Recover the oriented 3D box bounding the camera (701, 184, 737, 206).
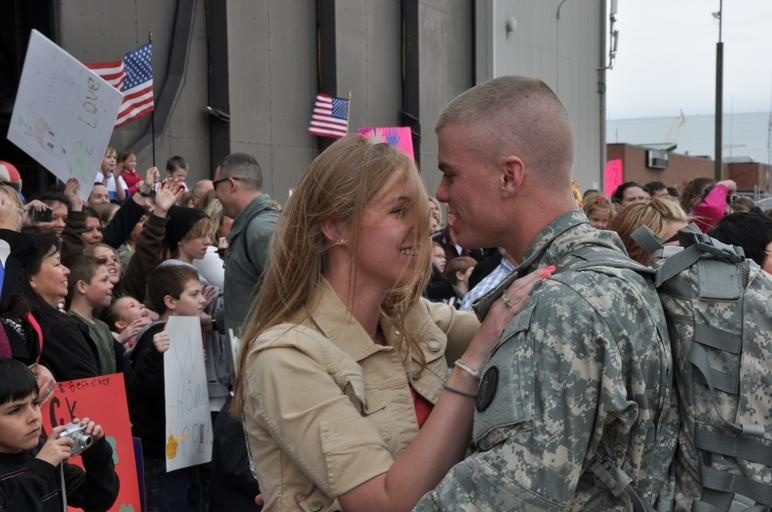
[{"bbox_3d":[3.891,-0.727,11.161,0.270,0.421,0.208,-4,2,-25],"label":"camera"}]

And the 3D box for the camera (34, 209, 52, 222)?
[{"bbox_3d":[-3.014,-0.352,8.354,0.091,0.126,0.161,-7,-5,44],"label":"camera"}]

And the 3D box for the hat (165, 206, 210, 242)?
[{"bbox_3d":[-1.904,-0.310,9.142,0.350,0.314,0.273,5,8,4],"label":"hat"}]
